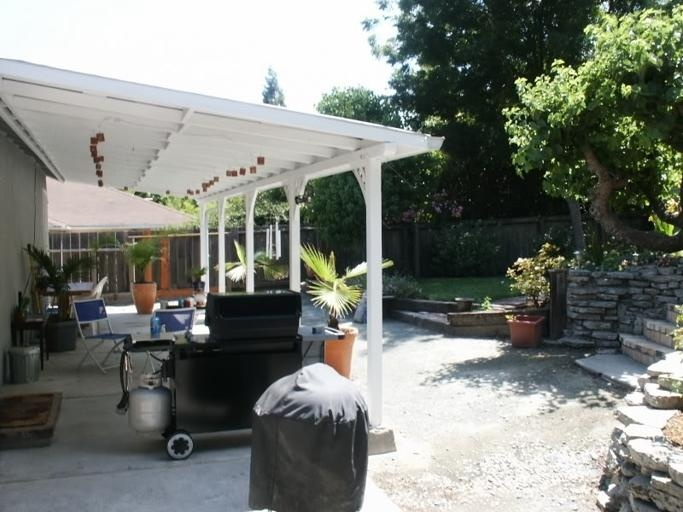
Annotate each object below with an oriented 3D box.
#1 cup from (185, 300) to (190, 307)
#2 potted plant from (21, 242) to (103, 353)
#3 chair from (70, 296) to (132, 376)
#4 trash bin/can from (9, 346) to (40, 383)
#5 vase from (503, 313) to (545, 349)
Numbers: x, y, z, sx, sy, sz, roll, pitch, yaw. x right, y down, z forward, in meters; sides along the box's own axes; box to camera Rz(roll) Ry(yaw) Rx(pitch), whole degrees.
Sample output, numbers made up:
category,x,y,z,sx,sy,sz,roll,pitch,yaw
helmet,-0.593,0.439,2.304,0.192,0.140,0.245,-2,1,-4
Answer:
category,x,y,z,sx,sy,sz,roll,pitch,yaw
cup,-2.734,0.843,10.016,0.090,0.105,0.099,1,-6,-3
potted plant,-4.999,0.745,9.842,0.920,1.811,1.349,2,4,9
chair,-3.724,1.210,8.839,0.716,1.034,0.556,3,5,22
trash bin/can,-4.370,1.478,7.849,0.384,0.497,0.446,1,1,-2
vase,3.303,1.335,10.053,0.652,0.476,0.593,-3,5,25
